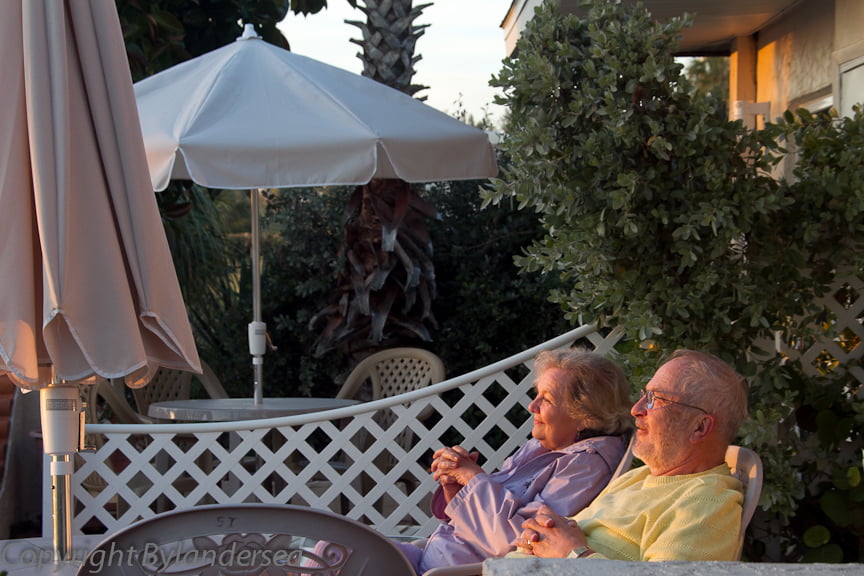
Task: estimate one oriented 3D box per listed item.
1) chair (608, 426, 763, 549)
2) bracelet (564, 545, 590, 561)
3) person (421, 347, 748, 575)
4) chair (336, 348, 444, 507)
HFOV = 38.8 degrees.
[{"bbox_3d":[1.258,0.826,5.898,0.500,0.742,0.521,24,-9,-31],"label":"chair"},{"bbox_3d":[0.676,1.205,5.586,0.113,0.040,0.051,3,5,-12],"label":"bracelet"},{"bbox_3d":[0.850,0.804,6.284,1.114,1.468,1.076,16,-12,-4],"label":"person"},{"bbox_3d":[-0.383,0.917,8.267,0.732,0.970,0.771,1,-2,-20],"label":"chair"}]
